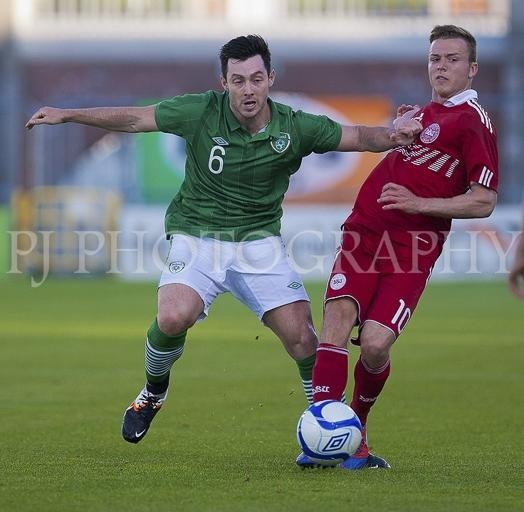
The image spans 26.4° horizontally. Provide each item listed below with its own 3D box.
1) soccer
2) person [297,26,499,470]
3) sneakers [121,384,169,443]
[{"bbox_3d":[0.450,1.008,6.549,0.409,0.346,0.364,4,-23,19],"label":"soccer"},{"bbox_3d":[0.855,-0.097,6.741,1.091,2.695,0.590,0,0,8],"label":"person"},{"bbox_3d":[-0.788,1.023,7.072,0.158,0.192,0.448,37,36,-6],"label":"sneakers"}]
